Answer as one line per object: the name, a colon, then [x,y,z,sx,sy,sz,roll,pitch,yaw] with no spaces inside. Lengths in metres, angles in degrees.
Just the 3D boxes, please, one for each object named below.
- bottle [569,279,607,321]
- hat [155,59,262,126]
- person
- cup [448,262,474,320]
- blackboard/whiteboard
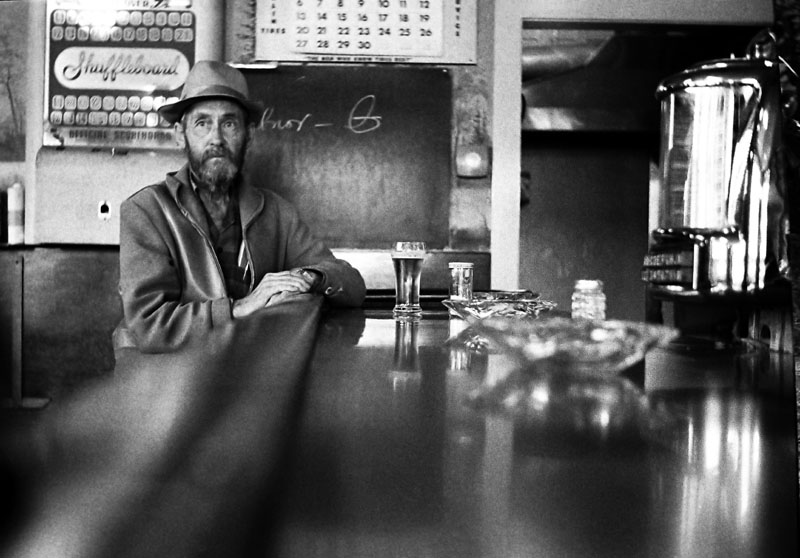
bottle: [0.367,0.051,1.384,0.080,0.092,0.085,2,-7,-1]
hat: [-0.647,-0.657,2.498,0.340,0.159,0.400,3,-6,-20]
person: [-0.496,-0.262,2.143,0.694,0.913,1.076,0,3,-15]
cup: [0.153,0.017,1.776,0.065,0.113,0.069,-2,0,0]
blackboard/whiteboard: [-0.283,-0.612,3.262,0.865,0.688,0.039,1,0,-6]
